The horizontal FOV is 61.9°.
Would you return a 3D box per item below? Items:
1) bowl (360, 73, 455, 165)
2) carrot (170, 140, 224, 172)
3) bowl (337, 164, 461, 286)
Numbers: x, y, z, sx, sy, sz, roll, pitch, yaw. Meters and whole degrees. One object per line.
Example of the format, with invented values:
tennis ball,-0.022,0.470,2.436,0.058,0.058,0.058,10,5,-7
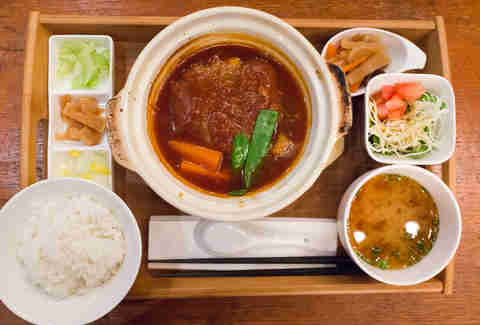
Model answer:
bowl,1.503,-0.380,3.622,0.825,0.248,0.795,0,86,-1
carrot,-0.380,-0.074,3.583,0.551,0.141,0.199,18,87,2
bowl,1.420,0.542,3.592,1.058,0.298,1.029,0,86,-1
